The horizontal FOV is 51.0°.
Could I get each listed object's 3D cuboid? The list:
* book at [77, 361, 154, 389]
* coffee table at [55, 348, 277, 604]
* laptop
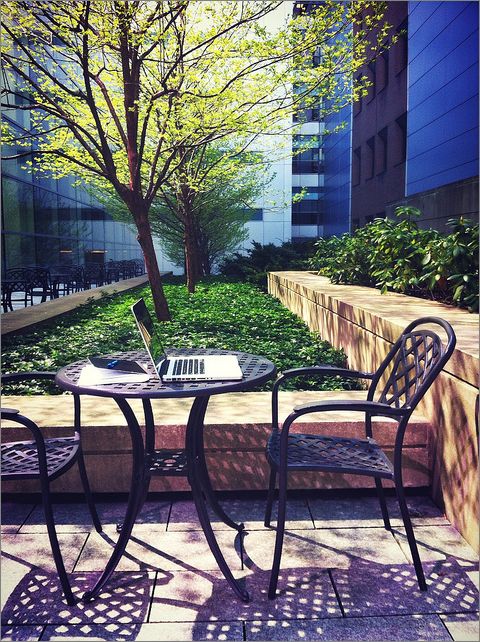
[{"bbox_3d":[-0.525,0.204,2.098,0.289,0.063,0.367,-7,12,-18],"label":"book"},{"bbox_3d":[-0.309,0.571,2.341,0.997,0.967,0.973,-1,7,-1],"label":"coffee table"},{"bbox_3d":[-0.227,0.054,2.226,0.542,0.345,0.562,0,5,-1],"label":"laptop"}]
